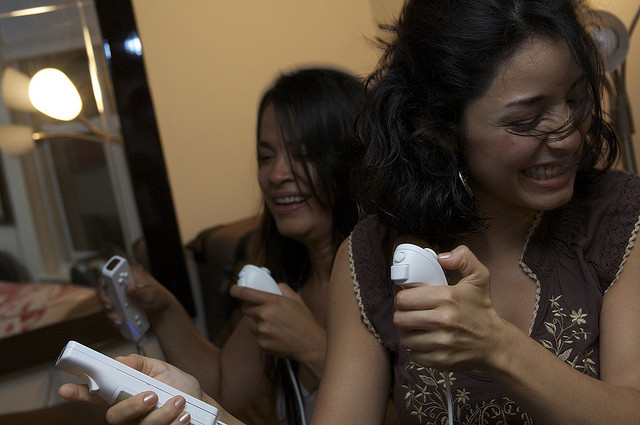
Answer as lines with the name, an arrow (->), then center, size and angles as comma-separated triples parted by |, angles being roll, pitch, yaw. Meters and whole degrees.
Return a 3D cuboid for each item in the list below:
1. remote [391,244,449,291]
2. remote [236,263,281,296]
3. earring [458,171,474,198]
remote -> 0.165, 0.092, 0.904 | 0.074, 0.070, 0.127 | -4, -21, 41
remote -> -0.137, 0.145, 1.157 | 0.092, 0.057, 0.038 | 20, -25, -36
earring -> 0.274, -0.052, 1.008 | 0.015, 0.042, 0.037 | -26, 15, 15
